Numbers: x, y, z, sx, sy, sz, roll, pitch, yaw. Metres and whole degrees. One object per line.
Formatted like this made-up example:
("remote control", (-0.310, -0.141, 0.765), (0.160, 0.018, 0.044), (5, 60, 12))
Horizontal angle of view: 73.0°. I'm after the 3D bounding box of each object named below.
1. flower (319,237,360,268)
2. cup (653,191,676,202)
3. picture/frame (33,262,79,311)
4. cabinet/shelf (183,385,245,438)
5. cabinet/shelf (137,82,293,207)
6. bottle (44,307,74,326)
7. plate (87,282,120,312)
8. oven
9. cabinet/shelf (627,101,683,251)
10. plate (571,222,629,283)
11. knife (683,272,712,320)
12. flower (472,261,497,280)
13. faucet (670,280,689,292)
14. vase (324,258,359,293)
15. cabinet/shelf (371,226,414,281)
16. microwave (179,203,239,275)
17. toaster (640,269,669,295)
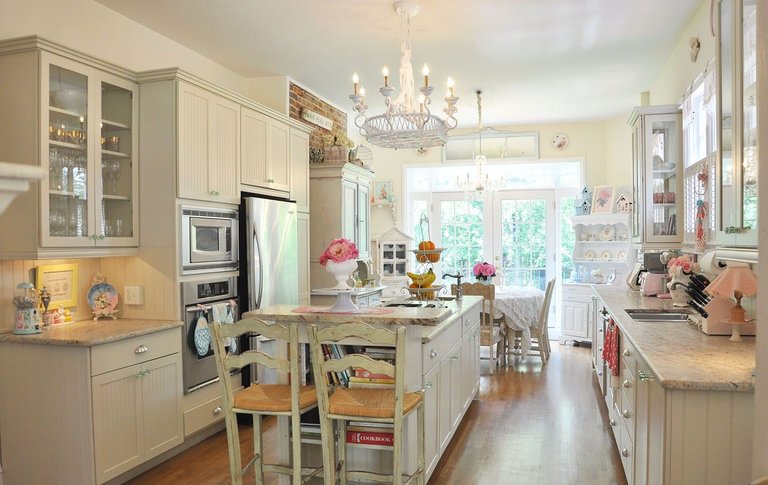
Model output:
("flower", (-0.348, 0.060, 4.119), (0.258, 0.136, 0.236), (-10, 11, -36))
("cup", (3.133, -0.498, 5.822), (0.217, 0.118, 0.056), (4, 7, 32))
("picture/frame", (-2.764, 0.370, 4.348), (0.039, 0.496, 0.426), (-4, -4, 32))
("cabinet/shelf", (-1.545, 1.493, 4.654), (0.355, 0.296, 0.505), (-2, -2, 17))
("cabinet/shelf", (-1.628, -0.882, 4.900), (0.381, 0.848, 1.489), (-1, -3, 17))
("bottle", (-2.708, 0.616, 4.316), (0.118, 0.142, 0.217), (-5, -4, 18))
("plate", (-2.471, 0.472, 4.584), (0.222, 0.238, 0.175), (-1, 6, -16))
("oven", (-1.805, 0.816, 4.933), (0.703, 0.993, 0.723), (-1, 2, 29))
("cabinet/shelf", (3.089, -0.735, 5.865), (0.559, 1.590, 0.325), (4, 7, 31))
("plate", (3.403, 0.175, 8.109), (0.925, 1.174, 0.358), (-1, -5, 29))
("knife", (2.573, 0.451, 4.230), (0.120, 0.243, 0.391), (7, 24, 3))
("flower", (1.342, 0.378, 7.104), (0.330, 0.322, 0.326), (-5, 8, 4))
("faucet", (2.716, 0.402, 4.787), (0.131, 0.088, 0.103), (11, 7, 39))
("vase", (-0.340, 0.276, 4.211), (0.265, 0.250, 0.261), (0, -9, 0))
("cabinet/shelf", (0.143, 0.195, 8.423), (0.572, 0.833, 0.356), (0, 6, 1))
("microwave", (-1.622, -0.029, 4.850), (0.481, 0.640, 0.680), (-1, -3, 21))
("toaster", (3.008, 0.467, 5.802), (0.305, 0.301, 0.187), (4, 1, 23))
